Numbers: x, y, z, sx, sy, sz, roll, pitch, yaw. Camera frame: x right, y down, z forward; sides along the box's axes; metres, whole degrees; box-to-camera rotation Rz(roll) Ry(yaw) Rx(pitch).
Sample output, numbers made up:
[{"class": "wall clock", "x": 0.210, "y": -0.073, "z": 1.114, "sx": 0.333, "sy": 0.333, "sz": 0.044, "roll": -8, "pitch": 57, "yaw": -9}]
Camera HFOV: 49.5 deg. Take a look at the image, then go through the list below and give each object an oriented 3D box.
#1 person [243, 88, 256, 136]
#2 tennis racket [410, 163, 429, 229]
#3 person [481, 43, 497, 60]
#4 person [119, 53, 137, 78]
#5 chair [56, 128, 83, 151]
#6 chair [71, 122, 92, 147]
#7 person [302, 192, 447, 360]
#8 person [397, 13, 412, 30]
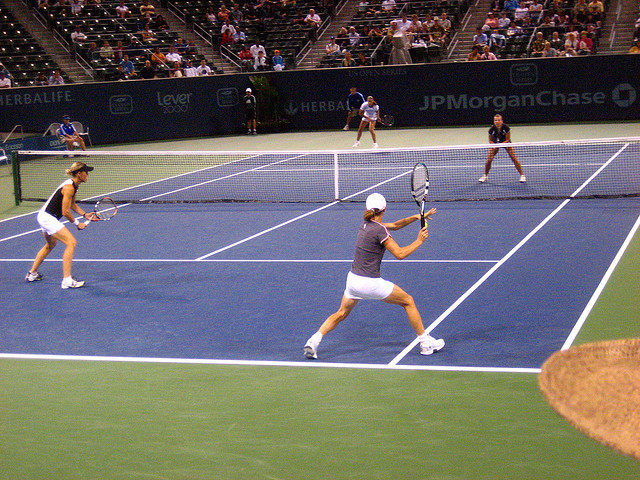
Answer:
[{"class": "person", "x": -2.724, "y": -4.928, "z": 26.966, "sx": 0.505, "sy": 1.734, "sz": 0.816, "roll": -4, "pitch": 15, "yaw": -4}, {"class": "tennis racket", "x": 1.219, "y": -0.543, "z": 8.331, "sx": 0.254, "sy": 0.834, "sz": 0.066, "roll": 15, "pitch": -39, "yaw": -30}, {"class": "person", "x": 6.228, "y": -6.913, "z": 25.691, "sx": 0.541, "sy": 0.557, "sz": 0.822, "roll": 1, "pitch": 14, "yaw": 12}, {"class": "person", "x": -7.393, "y": -6.677, "z": 26.815, "sx": 0.581, "sy": 0.886, "sz": 1.233, "roll": -6, "pitch": 14, "yaw": -13}, {"class": "chair", "x": -8.370, "y": -3.465, "z": 23.308, "sx": 0.469, "sy": 0.630, "sz": 0.401, "roll": 3, "pitch": 6, "yaw": 36}, {"class": "chair", "x": -8.491, "y": -3.943, "z": 24.837, "sx": 0.508, "sy": 0.610, "sz": 0.417, "roll": 10, "pitch": 13, "yaw": 43}, {"class": "person", "x": 0.589, "y": 0.411, "z": 7.314, "sx": 1.467, "sy": 1.701, "sz": 0.563, "roll": 0, "pitch": 15, "yaw": 8}, {"class": "person", "x": 3.342, "y": -8.580, "z": 27.461, "sx": 0.547, "sy": 0.630, "sz": 0.818, "roll": -1, "pitch": 14, "yaw": 4}]
